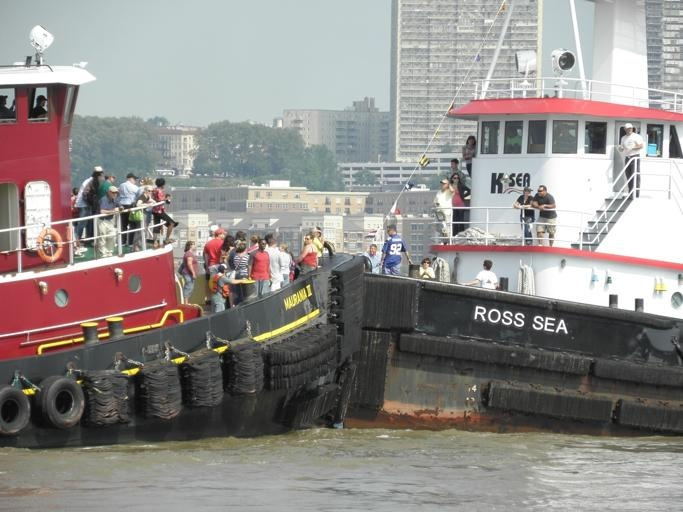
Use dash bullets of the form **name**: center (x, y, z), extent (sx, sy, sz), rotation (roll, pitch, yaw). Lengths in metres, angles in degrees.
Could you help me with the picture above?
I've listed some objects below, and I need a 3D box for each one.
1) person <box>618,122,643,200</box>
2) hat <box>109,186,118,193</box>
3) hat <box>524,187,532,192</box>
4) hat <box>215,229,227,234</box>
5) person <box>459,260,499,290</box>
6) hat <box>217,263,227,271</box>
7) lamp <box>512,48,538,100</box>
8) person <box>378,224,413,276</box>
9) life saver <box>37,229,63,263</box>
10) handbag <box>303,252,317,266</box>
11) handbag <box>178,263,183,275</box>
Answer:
- **person**: center (5.995, -2.009, 38.392), extent (0.527, 1.576, 0.432), rotation (-3, -1, 35)
- **hat**: center (-4.373, -1.288, 35.075), extent (0.147, 0.082, 0.117), rotation (-1, 13, -27)
- **hat**: center (3.846, -1.401, 38.191), extent (0.101, 0.084, 0.135), rotation (3, -10, -1)
- **hat**: center (-2.481, -0.507, 37.546), extent (0.187, 0.075, 0.136), rotation (-2, 5, -35)
- **person**: center (2.857, 0.359, 37.210), extent (0.639, 0.562, 1.401), rotation (1, 3, 4)
- **hat**: center (-2.324, 0.223, 35.708), extent (0.136, 0.129, 0.108), rotation (-10, 21, -38)
- **lamp**: center (4.062, -4.045, 40.746), extent (0.448, 0.936, 0.503), rotation (6, -17, 21)
- **person**: center (1.093, -0.033, 39.015), extent (0.620, 1.432, 0.439), rotation (-3, 29, -13)
- **life saver**: center (-5.394, -0.199, 33.831), extent (0.469, 0.674, 0.544), rotation (1, 3, -8)
- **handbag**: center (-0.677, 0.062, 37.359), extent (0.256, 0.283, 0.252), rotation (-3, -3, 12)
- **handbag**: center (-3.303, 0.267, 37.530), extent (0.105, 0.183, 0.184), rotation (11, 8, -12)
